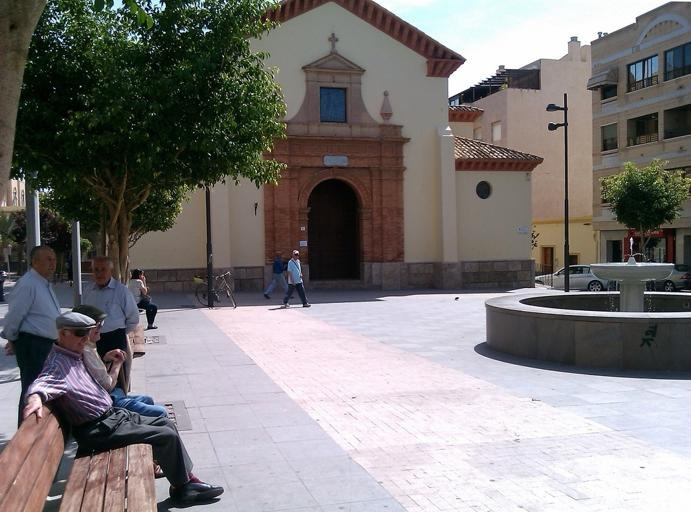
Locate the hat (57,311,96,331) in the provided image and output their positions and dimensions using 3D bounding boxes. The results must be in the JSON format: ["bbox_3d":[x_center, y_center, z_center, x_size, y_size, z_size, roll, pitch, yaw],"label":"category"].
[{"bbox_3d":[-2.322,0.549,5.285,0.284,0.142,0.362,-2,3,-43],"label":"hat"}]

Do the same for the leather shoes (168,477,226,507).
[{"bbox_3d":[-1.335,2.117,5.632,0.542,0.280,0.191,-3,-2,-14],"label":"leather shoes"}]

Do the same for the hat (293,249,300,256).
[{"bbox_3d":[-1.872,-0.162,22.935,0.209,0.289,0.128,2,-10,9],"label":"hat"}]

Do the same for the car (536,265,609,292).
[{"bbox_3d":[10.314,1.043,28.178,2.602,0.922,1.200,2,-2,19],"label":"car"}]

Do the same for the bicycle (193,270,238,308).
[{"bbox_3d":[-4.920,1.283,23.568,2.298,1.433,1.202,-3,-1,32],"label":"bicycle"}]
